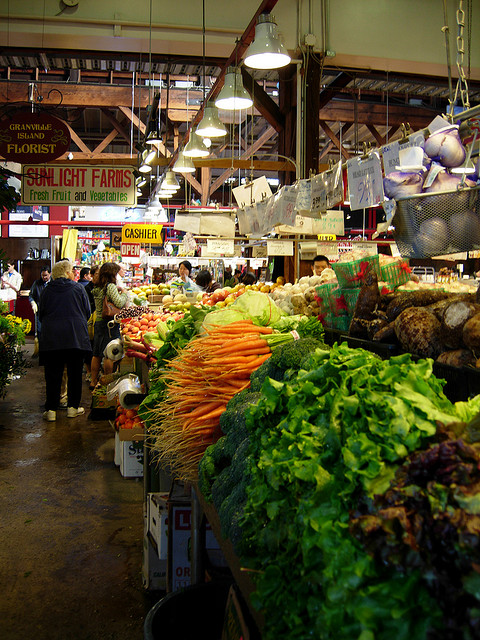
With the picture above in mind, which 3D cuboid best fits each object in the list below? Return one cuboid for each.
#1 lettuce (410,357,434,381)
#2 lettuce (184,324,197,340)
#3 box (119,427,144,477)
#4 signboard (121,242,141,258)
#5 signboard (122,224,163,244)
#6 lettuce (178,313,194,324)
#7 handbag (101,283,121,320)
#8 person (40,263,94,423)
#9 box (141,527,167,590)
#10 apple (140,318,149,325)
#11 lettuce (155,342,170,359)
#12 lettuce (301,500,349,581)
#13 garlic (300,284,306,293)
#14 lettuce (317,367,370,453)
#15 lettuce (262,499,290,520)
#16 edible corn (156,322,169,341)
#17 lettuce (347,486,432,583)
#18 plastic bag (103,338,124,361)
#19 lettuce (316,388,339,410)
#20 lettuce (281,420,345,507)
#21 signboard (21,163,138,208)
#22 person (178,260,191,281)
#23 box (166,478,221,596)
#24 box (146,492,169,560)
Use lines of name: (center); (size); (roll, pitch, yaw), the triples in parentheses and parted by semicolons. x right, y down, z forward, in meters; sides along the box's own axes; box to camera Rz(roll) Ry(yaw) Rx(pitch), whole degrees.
lettuce: (0.304, 0.083, 0.800); (0.034, 0.037, 0.014); (-37, -26, 4)
lettuce: (-0.243, 0.056, 2.309); (0.046, 0.068, 0.082); (1, 2, -26)
box: (-0.886, 1.078, 3.887); (0.184, 0.476, 0.335); (1, 2, -14)
signboard: (-3.836, -2.419, 16.551); (0.520, 0.538, 0.992); (1, 2, 1)
signboard: (-2.678, -2.353, 13.003); (0.827, 0.420, 0.087); (0, -8, 2)
lettuce: (-0.262, -0.007, 2.397); (0.056, 0.024, 0.057); (-7, 9, 5)
handbag: (-1.647, -0.243, 6.073); (0.184, 0.614, 0.435); (-1, -3, -3)
person: (-2.125, 0.263, 5.825); (0.562, 1.911, 0.391); (1, 2, -25)
box: (-0.451, 1.237, 2.468); (0.179, 0.248, 0.259); (-1, 8, -13)
apple: (-0.830, 0.011, 4.141); (0.052, 0.063, 0.052); (19, -34, -7)
lettuce: (-0.383, 0.155, 2.321); (0.023, 0.083, 0.054); (35, 16, -34)
lettuce: (0.111, 0.273, 0.604); (0.040, 0.080, 0.061); (-1, 5, -19)
garlic: (0.407, -0.206, 3.111); (0.041, 0.051, 0.042); (-13, 9, 8)
lettuce: (0.154, 0.135, 0.730); (0.067, 0.115, 0.079); (-2, 10, -10)
lettuce: (0.056, 0.295, 0.753); (0.013, 0.041, 0.025); (25, 10, 37)
edible corn: (-0.513, 0.066, 3.129); (0.069, 0.071, 0.235); (0, 36, -15)
lettuce: (0.164, 0.259, 0.551); (0.088, 0.045, 0.080); (-16, 7, -18)
plastic bag: (-1.298, 0.255, 4.949); (0.222, 0.312, 0.103); (5, -3, -25)
lettuce: (0.143, 0.132, 0.790); (0.015, 0.037, 0.027); (32, 51, 13)
lettuce: (0.118, 0.204, 0.730); (0.055, 0.127, 0.137); (44, -7, -2)
signboard: (-2.344, -1.970, 6.982); (1.583, 0.655, 0.279); (1, 2, -10)
person: (-1.021, -0.925, 8.767); (0.191, 0.386, 0.755); (1, 2, -9)
box: (-0.241, 0.916, 1.971); (0.266, 0.497, 0.282); (-2, 9, -22)
box: (-0.356, 1.005, 2.374); (0.160, 0.209, 0.293); (0, -1, -23)
